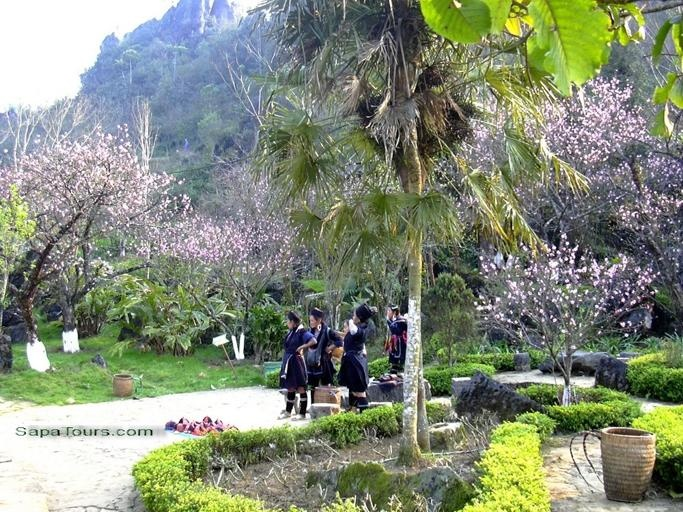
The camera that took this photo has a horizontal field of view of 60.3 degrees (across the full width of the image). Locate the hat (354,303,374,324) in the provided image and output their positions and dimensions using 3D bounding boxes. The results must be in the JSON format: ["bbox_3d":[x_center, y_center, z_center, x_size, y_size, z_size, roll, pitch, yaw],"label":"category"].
[{"bbox_3d":[0.400,1.042,10.629,0.285,0.378,0.255,1,-11,-39],"label":"hat"}]

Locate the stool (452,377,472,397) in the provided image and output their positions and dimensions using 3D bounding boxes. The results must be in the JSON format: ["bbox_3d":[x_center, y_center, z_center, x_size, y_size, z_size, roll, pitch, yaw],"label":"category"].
[{"bbox_3d":[2.410,2.643,11.918,0.305,0.332,0.622,-4,-8,7],"label":"stool"}]

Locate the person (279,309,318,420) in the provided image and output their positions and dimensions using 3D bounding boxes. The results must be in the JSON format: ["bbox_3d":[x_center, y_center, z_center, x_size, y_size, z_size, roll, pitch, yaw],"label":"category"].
[{"bbox_3d":[-0.851,2.069,11.322,0.686,2.040,0.823,-1,-6,-9],"label":"person"}]

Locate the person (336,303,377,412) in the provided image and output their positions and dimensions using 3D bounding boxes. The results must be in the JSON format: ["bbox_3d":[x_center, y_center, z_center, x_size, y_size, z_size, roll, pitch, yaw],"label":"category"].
[{"bbox_3d":[0.289,2.077,11.833,0.716,2.331,1.284,2,-20,8],"label":"person"}]

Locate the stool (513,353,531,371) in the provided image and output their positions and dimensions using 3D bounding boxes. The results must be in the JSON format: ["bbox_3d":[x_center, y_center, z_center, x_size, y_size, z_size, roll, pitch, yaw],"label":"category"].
[{"bbox_3d":[5.080,2.932,16.462,0.477,0.573,0.380,3,-5,-40],"label":"stool"}]

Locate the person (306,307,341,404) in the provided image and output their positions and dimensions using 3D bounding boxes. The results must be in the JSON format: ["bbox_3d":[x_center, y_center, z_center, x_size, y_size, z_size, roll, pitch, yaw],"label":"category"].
[{"bbox_3d":[-0.420,2.128,11.583,0.772,2.256,0.661,5,11,24],"label":"person"}]

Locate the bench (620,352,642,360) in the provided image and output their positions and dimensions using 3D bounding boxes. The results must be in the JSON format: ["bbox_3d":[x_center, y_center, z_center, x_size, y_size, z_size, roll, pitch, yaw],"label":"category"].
[{"bbox_3d":[7.448,2.564,15.216,0.428,0.112,2.011,-8,-9,23],"label":"bench"}]

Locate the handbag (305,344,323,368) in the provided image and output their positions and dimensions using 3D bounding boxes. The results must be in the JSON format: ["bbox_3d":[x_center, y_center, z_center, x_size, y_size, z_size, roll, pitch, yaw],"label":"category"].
[{"bbox_3d":[-0.536,1.905,11.319,0.337,0.484,0.170,-5,-15,17],"label":"handbag"}]

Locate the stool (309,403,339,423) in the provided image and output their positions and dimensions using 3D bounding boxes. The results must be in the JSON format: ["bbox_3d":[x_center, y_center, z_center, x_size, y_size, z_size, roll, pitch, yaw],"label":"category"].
[{"bbox_3d":[-0.295,2.704,10.285,0.493,0.241,0.525,-3,-8,-1],"label":"stool"}]

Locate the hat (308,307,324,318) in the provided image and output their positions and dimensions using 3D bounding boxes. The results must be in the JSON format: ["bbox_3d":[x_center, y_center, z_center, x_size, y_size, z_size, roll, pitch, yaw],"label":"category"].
[{"bbox_3d":[-0.464,1.079,11.476,0.173,0.293,0.240,-7,-6,-15],"label":"hat"}]

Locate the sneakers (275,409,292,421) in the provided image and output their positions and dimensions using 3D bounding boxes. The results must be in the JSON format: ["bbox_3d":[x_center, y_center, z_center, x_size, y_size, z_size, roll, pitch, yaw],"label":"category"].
[{"bbox_3d":[-1.103,3.088,11.435,0.300,0.259,0.110,23,-35,-35],"label":"sneakers"}]

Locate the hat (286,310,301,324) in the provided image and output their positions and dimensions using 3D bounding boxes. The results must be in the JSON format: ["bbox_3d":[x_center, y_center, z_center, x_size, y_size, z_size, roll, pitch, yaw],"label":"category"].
[{"bbox_3d":[-0.902,1.154,11.274,0.179,0.273,0.169,-1,15,45],"label":"hat"}]

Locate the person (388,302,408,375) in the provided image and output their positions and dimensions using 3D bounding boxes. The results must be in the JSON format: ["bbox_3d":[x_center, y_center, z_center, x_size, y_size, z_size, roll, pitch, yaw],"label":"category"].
[{"bbox_3d":[1.234,1.867,13.125,0.413,1.493,1.477,-3,-7,4],"label":"person"}]
